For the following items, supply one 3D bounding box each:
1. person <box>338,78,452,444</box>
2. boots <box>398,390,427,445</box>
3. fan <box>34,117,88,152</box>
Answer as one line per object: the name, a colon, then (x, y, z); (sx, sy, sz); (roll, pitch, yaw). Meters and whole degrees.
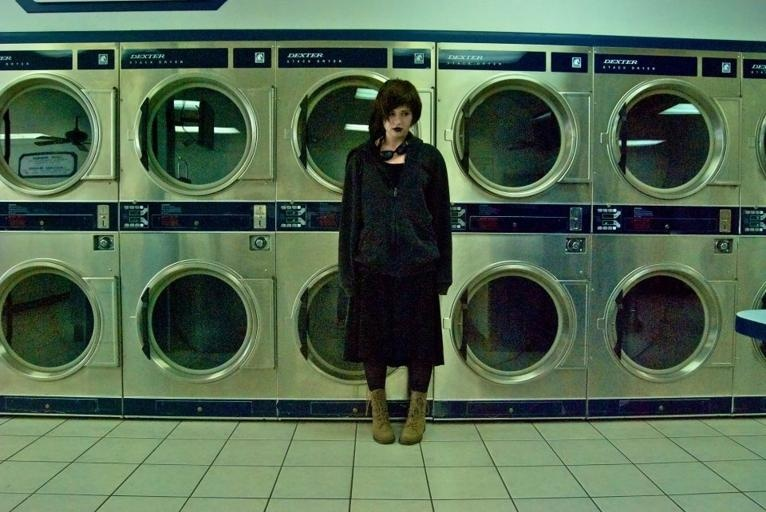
person: (0.072, -0.192, 4.753); (0.695, 1.800, 0.239); (0, 7, 1)
boots: (0.199, 1.035, 4.891); (0.145, 0.289, 0.410); (2, 6, 16)
fan: (-2.147, -0.813, 5.040); (0.353, 0.223, 0.042); (0, 7, 3)
